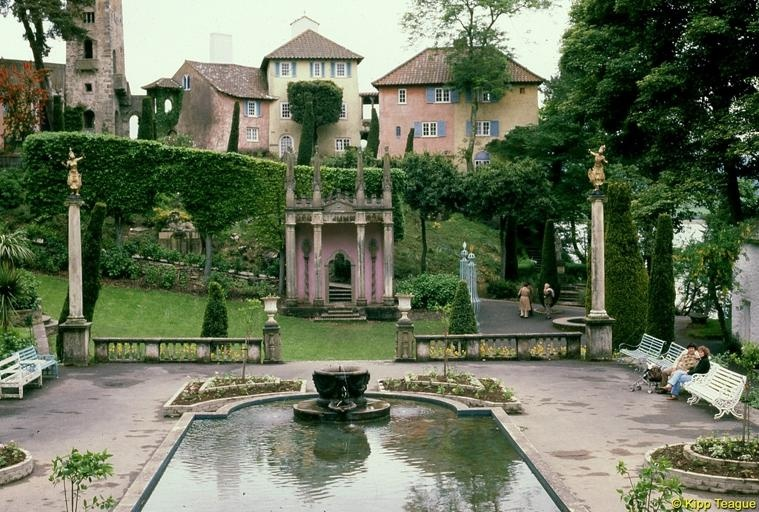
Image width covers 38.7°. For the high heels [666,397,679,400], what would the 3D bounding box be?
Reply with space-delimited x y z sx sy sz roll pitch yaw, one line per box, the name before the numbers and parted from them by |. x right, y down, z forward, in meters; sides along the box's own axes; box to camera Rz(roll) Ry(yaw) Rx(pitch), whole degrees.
high heels | 10.452 5.044 38.468 0.428 0.170 0.132 3 -5 8

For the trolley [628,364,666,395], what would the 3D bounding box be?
trolley | 9.813 4.475 39.528 0.762 1.119 1.201 6 -10 -41

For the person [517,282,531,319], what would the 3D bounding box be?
person | 7.682 2.313 56.807 0.539 1.759 1.014 2 2 3
